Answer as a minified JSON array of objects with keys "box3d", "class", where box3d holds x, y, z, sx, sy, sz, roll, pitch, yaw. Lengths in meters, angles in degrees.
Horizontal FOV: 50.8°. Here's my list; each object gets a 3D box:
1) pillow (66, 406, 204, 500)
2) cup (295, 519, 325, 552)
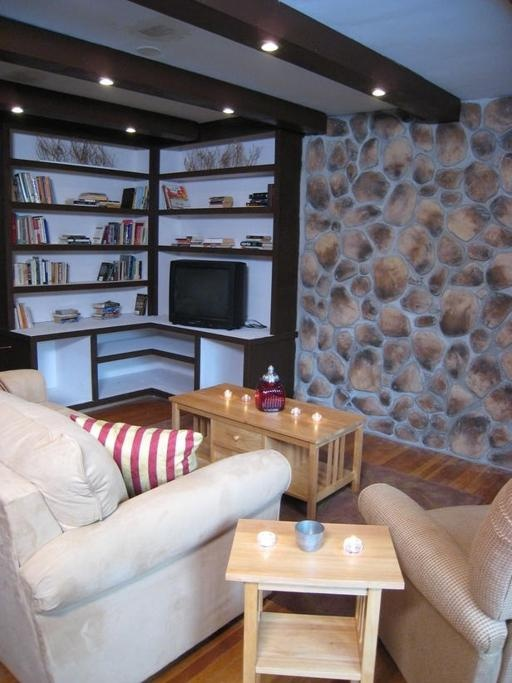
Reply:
[{"box3d":[-0.380,0.371,1.792,0.470,0.397,0.168,4,23,16],"class":"pillow"},{"box3d":[0.146,0.497,1.389,0.075,0.052,0.073,0,2,0],"class":"cup"}]
